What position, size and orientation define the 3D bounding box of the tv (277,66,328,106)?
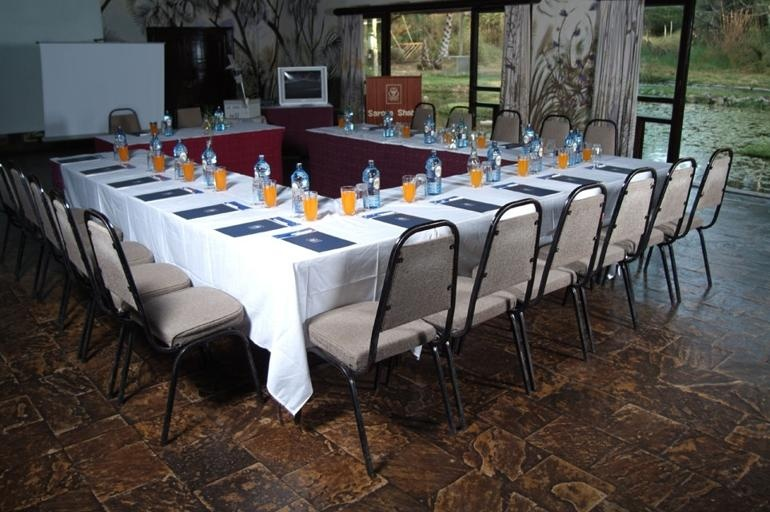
[{"bbox_3d":[-1.329,-2.740,8.456,0.691,0.495,0.069,-2,12,-11],"label":"tv"}]
